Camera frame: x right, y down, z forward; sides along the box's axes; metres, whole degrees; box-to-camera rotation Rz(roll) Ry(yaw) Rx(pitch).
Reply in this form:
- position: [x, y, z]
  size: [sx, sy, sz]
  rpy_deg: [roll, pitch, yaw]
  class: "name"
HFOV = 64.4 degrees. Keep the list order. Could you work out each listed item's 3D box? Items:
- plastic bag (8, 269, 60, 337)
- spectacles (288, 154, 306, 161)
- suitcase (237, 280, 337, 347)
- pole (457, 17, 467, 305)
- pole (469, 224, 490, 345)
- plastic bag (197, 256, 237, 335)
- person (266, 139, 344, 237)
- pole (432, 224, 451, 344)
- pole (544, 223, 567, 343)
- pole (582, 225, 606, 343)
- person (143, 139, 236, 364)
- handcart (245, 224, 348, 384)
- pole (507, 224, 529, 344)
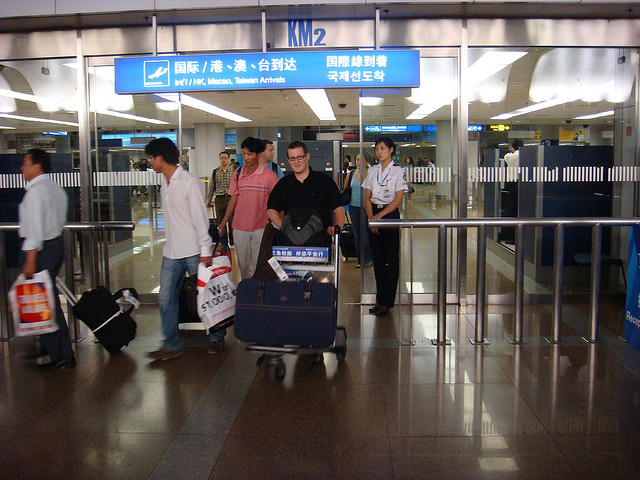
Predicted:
- position: [-2.594, 0.568, 4.603]
  size: [0.375, 0.590, 0.173]
  rpy_deg: [-5, 8, -22]
  class: "plastic bag"
- position: [-0.217, -0.759, 4.680]
  size: [0.145, 0.049, 0.054]
  rpy_deg: [-2, 7, -1]
  class: "spectacles"
- position: [-0.296, 0.604, 4.236]
  size: [0.785, 0.504, 0.146]
  rpy_deg: [0, 7, 11]
  class: "suitcase"
- position: [1.795, -0.945, 6.411]
  size: [0.107, 3.572, 0.162]
  rpy_deg: [1, 8, 20]
  class: "pole"
- position: [1.610, 0.444, 5.122]
  size: [0.197, 1.226, 0.261]
  rpy_deg: [0, 7, 17]
  class: "pole"
- position: [-0.973, 0.520, 4.772]
  size: [0.359, 0.734, 0.165]
  rpy_deg: [-4, 7, -17]
  class: "plastic bag"
- position: [-0.153, -0.529, 4.835]
  size: [0.728, 0.794, 0.491]
  rpy_deg: [-2, 7, -2]
  class: "person"
- position: [1.226, 0.447, 5.134]
  size: [0.183, 1.229, 0.262]
  rpy_deg: [0, 7, 14]
  class: "pole"
- position: [2.409, 0.488, 5.075]
  size: [0.262, 1.255, 0.283]
  rpy_deg: [2, 5, 34]
  class: "pole"
- position: [2.750, 0.461, 5.082]
  size: [0.292, 1.248, 0.299]
  rpy_deg: [8, 21, 42]
  class: "pole"
- position: [-1.257, 0.096, 4.781]
  size: [0.849, 2.083, 0.325]
  rpy_deg: [-1, 7, 10]
  class: "person"
- position: [-0.237, 0.509, 4.472]
  size: [0.886, 1.234, 0.736]
  rpy_deg: [2, 0, 13]
  class: "handcart"
- position: [2.012, 0.435, 5.137]
  size: [0.203, 1.221, 0.287]
  rpy_deg: [1, 8, 21]
  class: "pole"
